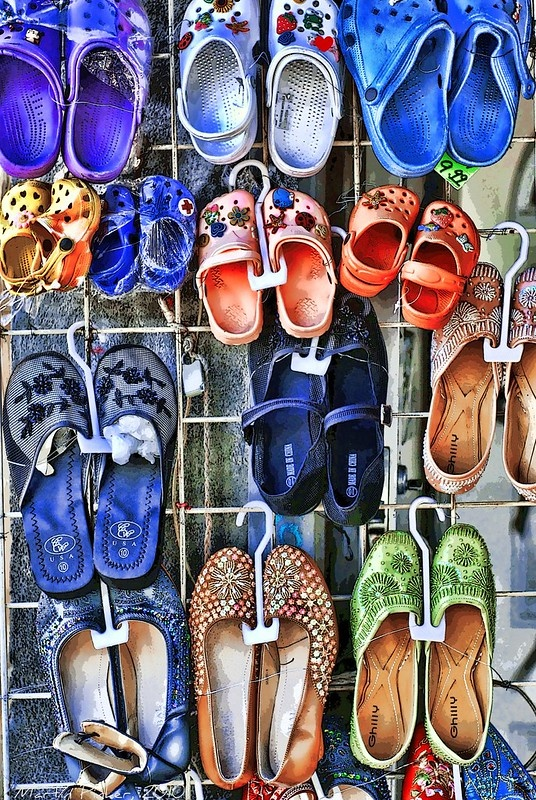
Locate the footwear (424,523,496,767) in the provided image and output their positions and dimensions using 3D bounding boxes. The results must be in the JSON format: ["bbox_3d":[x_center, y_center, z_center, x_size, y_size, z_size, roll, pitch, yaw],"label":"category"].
[{"bbox_3d":[0.367,0.476,1.505,0.129,0.486,0.122,3,3,16],"label":"footwear"}]

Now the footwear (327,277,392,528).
[{"bbox_3d":[0.172,0.002,1.466,0.124,0.450,0.120,1,3,12],"label":"footwear"}]

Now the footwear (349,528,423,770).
[{"bbox_3d":[0.226,0.486,1.502,0.126,0.478,0.118,1,2,12],"label":"footwear"}]

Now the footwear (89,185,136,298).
[{"bbox_3d":[-0.281,-0.286,1.440,0.081,0.209,0.060,5,9,18],"label":"footwear"}]

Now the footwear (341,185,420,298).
[{"bbox_3d":[0.196,-0.294,1.417,0.113,0.244,0.096,17,9,2],"label":"footwear"}]

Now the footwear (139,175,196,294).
[{"bbox_3d":[-0.183,-0.296,1.411,0.091,0.205,0.060,4,7,-5],"label":"footwear"}]

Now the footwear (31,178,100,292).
[{"bbox_3d":[-0.347,-0.286,1.364,0.098,0.204,0.075,3,1,35],"label":"footwear"}]

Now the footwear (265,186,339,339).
[{"bbox_3d":[0.060,-0.246,1.446,0.148,0.266,0.121,3,-6,-7],"label":"footwear"}]

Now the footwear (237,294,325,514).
[{"bbox_3d":[0.028,0.025,1.508,0.131,0.452,0.146,-2,2,8],"label":"footwear"}]

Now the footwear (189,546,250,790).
[{"bbox_3d":[-0.088,0.508,1.507,0.117,0.466,0.113,-3,-2,3],"label":"footwear"}]

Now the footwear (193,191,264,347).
[{"bbox_3d":[-0.075,-0.246,1.445,0.107,0.301,0.108,1,9,6],"label":"footwear"}]

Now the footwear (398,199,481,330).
[{"bbox_3d":[0.313,-0.244,1.433,0.138,0.235,0.193,1,-6,13],"label":"footwear"}]

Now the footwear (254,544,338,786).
[{"bbox_3d":[0.057,0.503,1.501,0.141,0.455,0.122,2,-1,14],"label":"footwear"}]

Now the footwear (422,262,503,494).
[{"bbox_3d":[0.367,-0.003,1.499,0.132,0.496,0.124,6,9,19],"label":"footwear"}]
